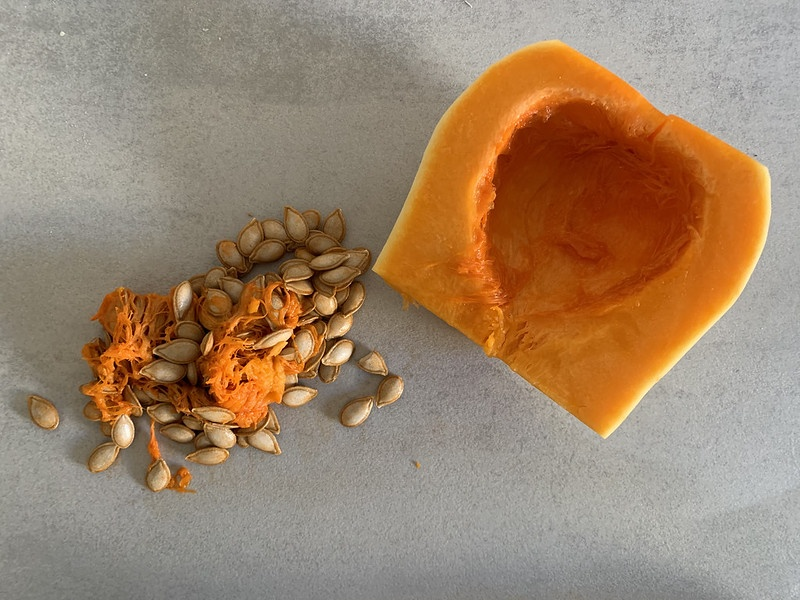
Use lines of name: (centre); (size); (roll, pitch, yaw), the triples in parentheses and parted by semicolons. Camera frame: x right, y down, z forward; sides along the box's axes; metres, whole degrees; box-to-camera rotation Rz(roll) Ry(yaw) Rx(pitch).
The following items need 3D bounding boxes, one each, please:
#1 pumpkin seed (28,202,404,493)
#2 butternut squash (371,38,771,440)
pumpkin seed: (-0.520, 0.121, 2.275); (1.348, 0.805, 0.197); (-19, 5, -2)
butternut squash: (0.485, -0.185, 2.176); (0.899, 0.883, 0.413); (25, 29, 11)
